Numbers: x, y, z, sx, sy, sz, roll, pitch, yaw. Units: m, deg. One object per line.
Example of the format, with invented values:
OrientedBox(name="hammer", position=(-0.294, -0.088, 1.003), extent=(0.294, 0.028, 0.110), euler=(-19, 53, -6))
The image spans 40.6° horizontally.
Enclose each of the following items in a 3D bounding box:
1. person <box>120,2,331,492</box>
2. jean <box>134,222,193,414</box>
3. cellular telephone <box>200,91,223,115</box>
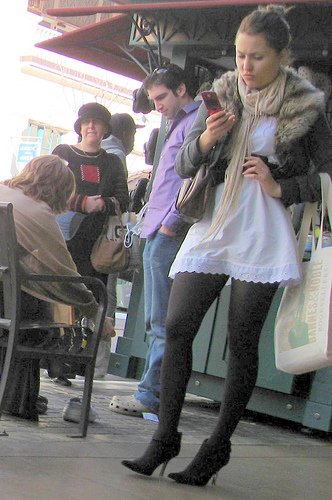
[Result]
OrientedBox(name="person", position=(0.269, -0.063, 1.474), extent=(0.537, 1.600, 0.268), euler=(9, -7, 3))
OrientedBox(name="jean", position=(-0.080, 0.424, 2.889), extent=(0.267, 1.208, 0.402), euler=(10, -7, -2))
OrientedBox(name="cellular telephone", position=(0.144, -0.459, 1.410), extent=(0.071, 0.078, 0.047), euler=(8, -7, 0))
